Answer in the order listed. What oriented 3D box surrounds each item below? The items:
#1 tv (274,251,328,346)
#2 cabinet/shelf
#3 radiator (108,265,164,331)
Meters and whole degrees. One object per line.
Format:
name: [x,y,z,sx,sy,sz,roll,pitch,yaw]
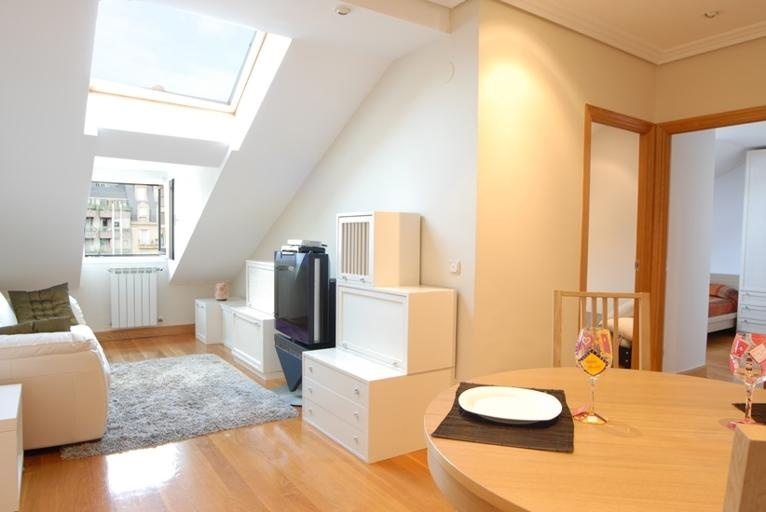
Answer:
tv: [-0.767,0.405,4.866,0.337,0.966,0.965,-1,0,-31]
cabinet/shelf: [-0.027,1.033,4.131,0.773,0.565,0.986,-1,4,-32]
radiator: [-3.497,0.584,7.064,0.961,1.029,0.155,1,1,-34]
